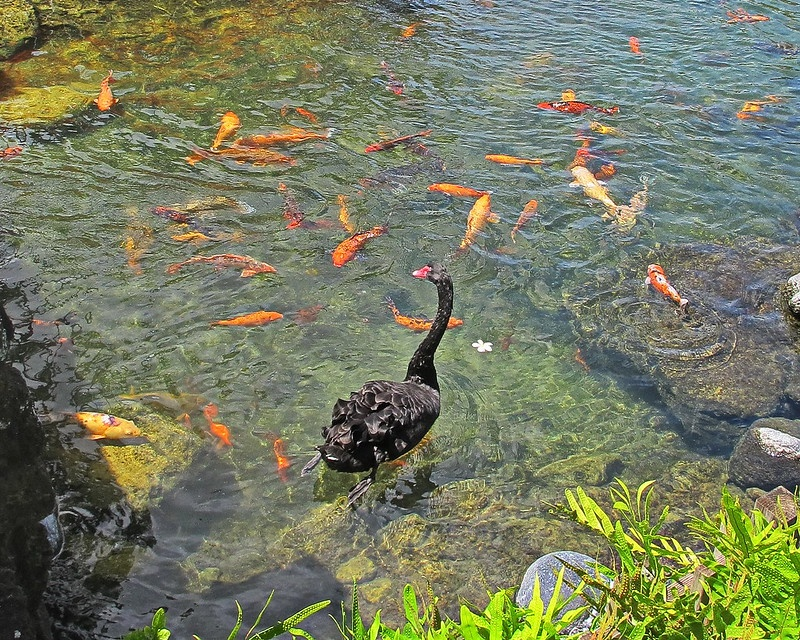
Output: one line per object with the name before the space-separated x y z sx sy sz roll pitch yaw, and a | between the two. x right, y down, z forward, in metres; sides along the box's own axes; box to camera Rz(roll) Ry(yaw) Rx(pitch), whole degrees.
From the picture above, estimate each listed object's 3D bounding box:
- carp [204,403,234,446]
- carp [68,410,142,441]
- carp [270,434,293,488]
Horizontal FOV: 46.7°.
carp | -2.309 1.339 11.762 0.232 0.213 0.676 -30 72 -20
carp | -3.580 1.318 11.367 0.652 0.231 0.336 17 39 -7
carp | -1.493 1.751 11.524 0.173 0.257 0.524 0 73 -26
